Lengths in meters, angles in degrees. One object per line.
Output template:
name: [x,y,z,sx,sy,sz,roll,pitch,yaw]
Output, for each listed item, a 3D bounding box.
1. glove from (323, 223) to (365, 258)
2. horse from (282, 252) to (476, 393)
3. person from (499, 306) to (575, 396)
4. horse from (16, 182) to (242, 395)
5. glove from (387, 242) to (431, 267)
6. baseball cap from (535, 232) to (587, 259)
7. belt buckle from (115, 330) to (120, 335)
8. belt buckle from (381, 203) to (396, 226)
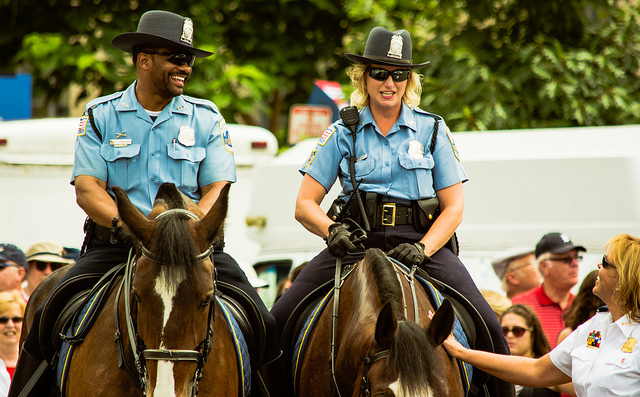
glove: [0.261,0.476,14.228,0.387,0.390,0.273,1,4,9]
horse: [0.643,1.439,13.728,1.250,1.630,2.094,-2,4,-22]
person: [2.664,1.874,15.009,0.555,1.029,0.793,-23,-15,-3]
horse: [-1.993,1.004,13.809,2.033,2.350,1.075,3,5,36]
glove: [1.062,0.618,14.074,0.270,0.167,0.355,21,-2,21]
baseball cap: [3.358,0.635,17.169,0.525,0.197,0.341,-5,-5,33]
belt buckle: [-2.209,1.461,13.603,0.062,0.055,0.025,-3,1,-6]
belt buckle: [0.848,0.185,14.526,0.224,0.278,0.232,2,4,12]
